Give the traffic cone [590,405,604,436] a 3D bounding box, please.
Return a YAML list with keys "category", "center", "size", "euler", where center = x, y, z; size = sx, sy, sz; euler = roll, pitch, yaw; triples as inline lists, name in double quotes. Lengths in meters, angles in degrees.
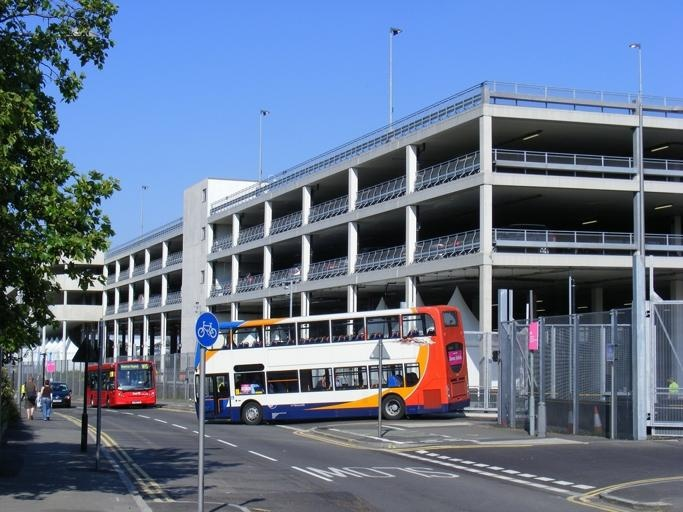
- category: "traffic cone"
  center: [8.451, 5.371, 33.374]
  size: [0.175, 0.944, 0.424]
  euler: [6, -13, -22]
